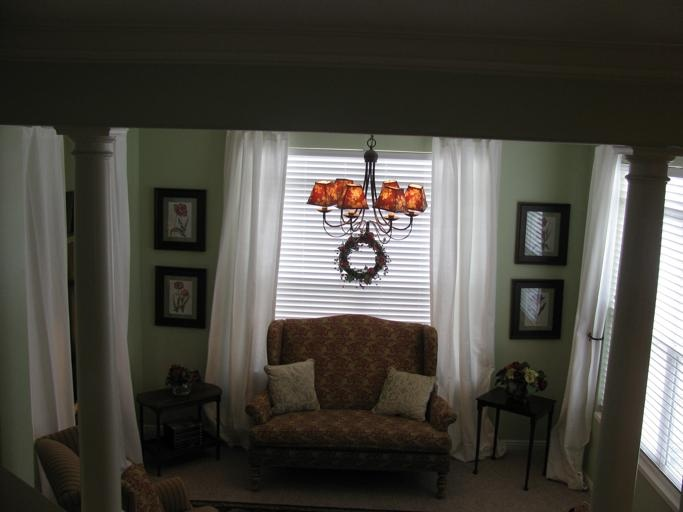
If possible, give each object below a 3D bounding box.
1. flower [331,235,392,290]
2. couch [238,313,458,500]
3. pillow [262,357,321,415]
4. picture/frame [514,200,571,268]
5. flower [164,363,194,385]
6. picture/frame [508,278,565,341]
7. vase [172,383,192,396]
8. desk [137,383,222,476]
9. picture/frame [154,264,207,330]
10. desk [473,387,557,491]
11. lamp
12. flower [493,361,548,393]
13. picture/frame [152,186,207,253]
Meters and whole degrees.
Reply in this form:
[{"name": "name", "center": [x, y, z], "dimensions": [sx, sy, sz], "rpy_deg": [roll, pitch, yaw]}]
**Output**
[{"name": "flower", "center": [0.182, 0.024, 5.602], "dimensions": [0.431, 0.547, 0.147], "rpy_deg": [2, 17, 16]}, {"name": "couch", "center": [0.107, 1.371, 5.733], "dimensions": [1.777, 1.579, 1.213], "rpy_deg": [1, -1, 5]}, {"name": "pillow", "center": [-0.451, 1.233, 5.668], "dimensions": [0.461, 0.464, 0.233], "rpy_deg": [-4, 7, -24]}, {"name": "picture/frame", "center": [2.026, -0.248, 6.031], "dimensions": [0.546, 0.739, 0.049], "rpy_deg": [2, 3, -1]}, {"name": "flower", "center": [-1.506, 1.097, 5.607], "dimensions": [0.228, 0.171, 0.168], "rpy_deg": [0, 7, -11]}, {"name": "picture/frame", "center": [1.968, 0.506, 6.066], "dimensions": [0.513, 0.686, 0.049], "rpy_deg": [1, 3, -2]}, {"name": "vase", "center": [-1.507, 1.242, 5.617], "dimensions": [0.104, 0.135, 0.150], "rpy_deg": [2, -14, -6]}, {"name": "desk", "center": [-1.516, 1.624, 5.707], "dimensions": [0.763, 0.691, 0.469], "rpy_deg": [-4, 9, -44]}, {"name": "picture/frame", "center": [-1.653, 0.380, 6.138], "dimensions": [0.523, 0.713, 0.045], "rpy_deg": [1, 3, 1]}, {"name": "desk", "center": [1.633, 1.629, 5.735], "dimensions": [0.713, 0.796, 0.873], "rpy_deg": [6, 8, 32]}, {"name": "lamp", "center": [0.220, -0.542, 4.965], "dimensions": [0.922, 1.022, 0.950], "rpy_deg": [2, 10, 1]}, {"name": "flower", "center": [1.723, 1.112, 5.612], "dimensions": [0.401, 0.178, 0.419], "rpy_deg": [9, 2, 39]}, {"name": "picture/frame", "center": [-1.643, -0.382, 6.071], "dimensions": [0.471, 0.650, 0.023], "rpy_deg": [0, 27, -16]}]
